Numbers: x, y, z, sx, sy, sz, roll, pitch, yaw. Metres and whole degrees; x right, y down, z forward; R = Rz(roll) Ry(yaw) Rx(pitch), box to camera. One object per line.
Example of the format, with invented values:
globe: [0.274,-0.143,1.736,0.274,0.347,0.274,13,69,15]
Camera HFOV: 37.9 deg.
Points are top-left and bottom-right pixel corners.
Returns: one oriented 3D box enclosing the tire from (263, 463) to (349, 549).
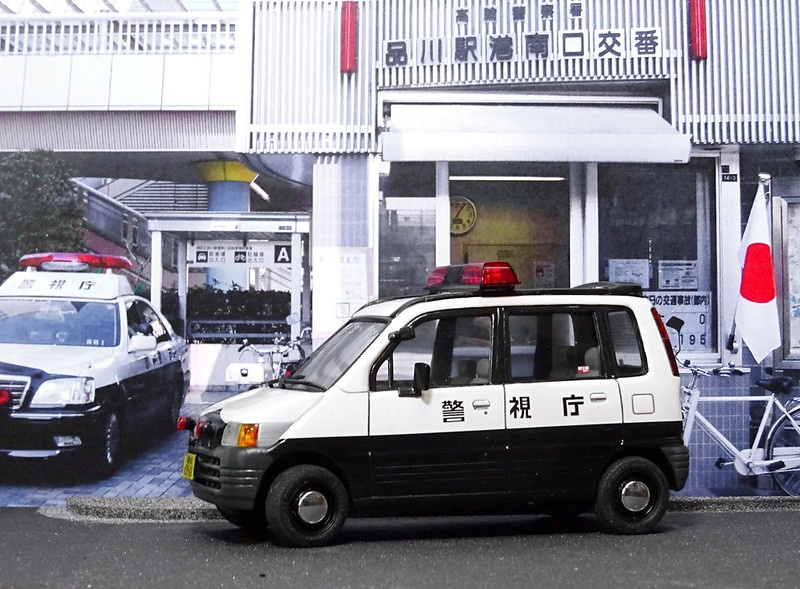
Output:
tire: [-1.013,2.245,12.551,0.686,0.771,0.277,17,-8,-20]

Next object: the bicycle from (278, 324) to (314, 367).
bicycle: [-1.713,0.880,18.413,0.469,0.783,0.710,3,28,-17]

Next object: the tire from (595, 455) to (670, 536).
tire: [2.602,2.244,13.119,0.754,0.862,0.301,-6,2,-19]

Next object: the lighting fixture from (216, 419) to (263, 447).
lighting fixture: [-1.712,1.520,12.537,0.281,0.170,0.287,1,8,7]

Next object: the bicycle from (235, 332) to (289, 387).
bicycle: [-2.458,1.171,20.328,0.841,0.855,1.330,-1,2,-9]

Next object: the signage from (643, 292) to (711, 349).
signage: [3.809,0.382,15.862,0.703,0.704,0.104,0,-4,3]
